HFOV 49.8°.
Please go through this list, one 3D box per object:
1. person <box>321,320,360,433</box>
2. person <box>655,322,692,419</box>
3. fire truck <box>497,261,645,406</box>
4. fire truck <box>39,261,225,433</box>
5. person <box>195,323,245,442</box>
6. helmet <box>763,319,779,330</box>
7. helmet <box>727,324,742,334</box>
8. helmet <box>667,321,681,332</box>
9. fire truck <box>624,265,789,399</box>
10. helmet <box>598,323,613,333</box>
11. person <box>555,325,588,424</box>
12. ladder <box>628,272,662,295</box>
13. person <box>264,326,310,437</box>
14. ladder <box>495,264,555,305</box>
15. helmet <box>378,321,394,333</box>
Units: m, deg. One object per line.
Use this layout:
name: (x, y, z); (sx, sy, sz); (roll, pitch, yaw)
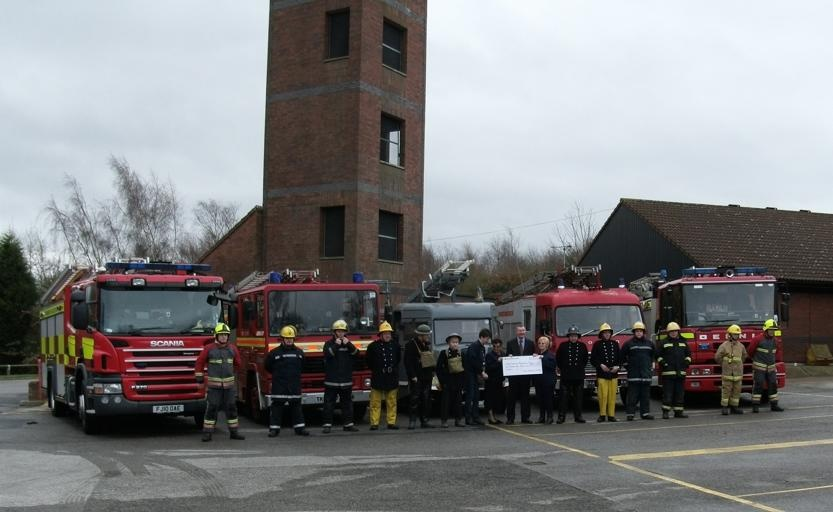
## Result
person: (-2.256, 3.431, 25.823); (1.147, 3.168, 0.921); (8, -11, -40)
person: (7.880, 3.533, 27.572); (0.984, 2.864, 1.184); (1, 3, 17)
fire truck: (5.007, 2.851, 33.859); (2.992, 4.359, 9.654); (4, -6, -10)
fire truck: (-9.626, 2.786, 29.514); (4.394, 4.704, 10.798); (-1, -6, -28)
person: (-5.421, 3.403, 24.757); (1.219, 2.980, 1.472); (1, -2, -16)
helmet: (11.136, 2.191, 28.282); (0.453, 0.261, 0.311); (-6, 8, -32)
helmet: (9.949, 2.314, 28.177); (0.291, 0.200, 0.369); (0, -3, -25)
helmet: (7.918, 2.210, 27.778); (0.374, 0.209, 0.444); (0, -5, -4)
fire truck: (11.657, 3.331, 34.070); (3.593, 4.885, 10.669); (-4, -11, 12)
helmet: (5.779, 2.230, 27.439); (0.353, 0.243, 0.430); (2, -5, -3)
person: (4.743, 3.610, 27.242); (1.071, 2.764, 0.858); (1, -8, -2)
ladder: (9.032, 1.204, 35.320); (0.858, 0.479, 1.088); (-8, -3, -12)
person: (-3.656, 3.516, 25.138); (1.141, 2.988, 0.795); (-1, 3, -10)
ladder: (4.354, 1.279, 35.565); (0.664, 0.902, 3.880); (4, -12, -20)
helmet: (-0.903, 2.100, 26.087); (0.328, 0.315, 0.330); (-2, 3, -21)
